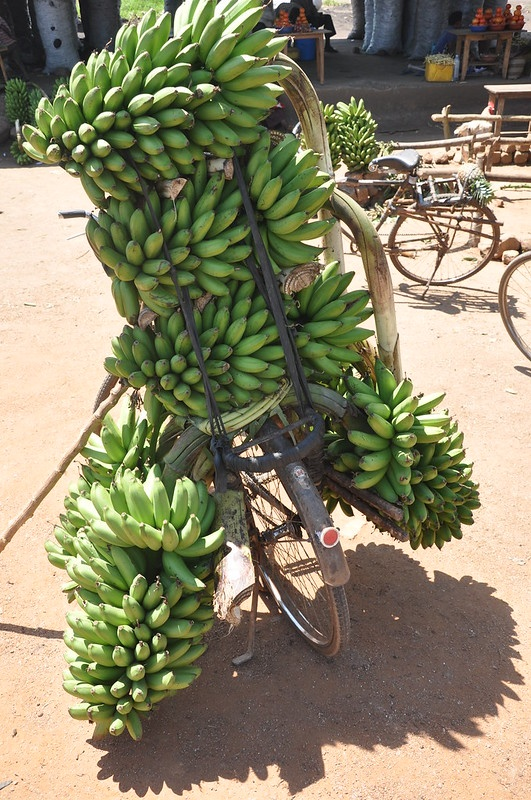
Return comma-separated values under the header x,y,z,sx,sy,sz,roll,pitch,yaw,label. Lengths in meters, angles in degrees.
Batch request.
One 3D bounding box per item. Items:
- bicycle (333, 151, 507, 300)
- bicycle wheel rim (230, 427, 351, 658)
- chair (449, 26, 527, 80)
x,y,z,sx,sy,sz,roll,pitch,yaw,label
1.611,-2.120,7.699,0.912,1.357,2.941,-11,12,-18,bicycle
0.105,0.598,2.726,0.292,0.816,0.921,-22,0,-1,bicycle wheel rim
4.603,-7.137,13.763,1.478,0.827,1.314,-8,26,-20,chair
